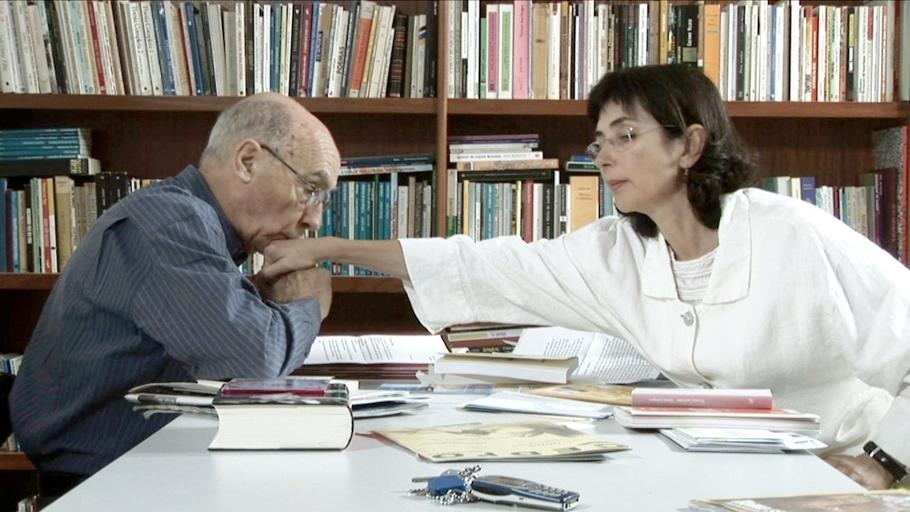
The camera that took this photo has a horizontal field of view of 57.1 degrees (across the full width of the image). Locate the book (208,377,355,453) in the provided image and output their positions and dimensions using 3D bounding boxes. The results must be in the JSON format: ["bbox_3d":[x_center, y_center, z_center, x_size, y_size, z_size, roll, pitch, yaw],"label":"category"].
[{"bbox_3d":[-0.449,0.411,2.190,0.367,0.166,0.129,-2,7,-1],"label":"book"}]

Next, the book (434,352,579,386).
[{"bbox_3d":[0.160,0.346,2.613,0.434,0.076,0.095,-1,7,12],"label":"book"}]

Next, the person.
[{"bbox_3d":[-0.833,0.093,2.815,0.953,1.156,1.058,2,1,-36],"label":"person"}]
